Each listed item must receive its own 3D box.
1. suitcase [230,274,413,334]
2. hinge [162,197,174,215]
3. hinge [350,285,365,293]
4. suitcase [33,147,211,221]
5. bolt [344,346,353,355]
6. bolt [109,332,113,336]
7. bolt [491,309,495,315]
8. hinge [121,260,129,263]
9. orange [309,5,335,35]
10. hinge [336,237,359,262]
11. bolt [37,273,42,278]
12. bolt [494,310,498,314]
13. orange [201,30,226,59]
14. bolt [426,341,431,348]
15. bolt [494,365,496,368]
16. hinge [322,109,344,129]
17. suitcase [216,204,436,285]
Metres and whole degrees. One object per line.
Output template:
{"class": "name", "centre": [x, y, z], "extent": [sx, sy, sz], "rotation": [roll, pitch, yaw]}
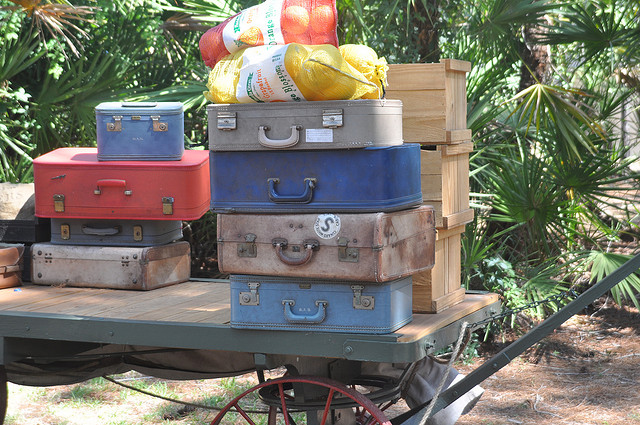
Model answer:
{"class": "suitcase", "centre": [0.155, 0.658, 6.277], "extent": [1.725, 0.433, 1.744], "rotation": [-2, 3, -9]}
{"class": "hinge", "centre": [-1.358, -0.061, 6.731], "extent": [0.135, 0.184, 0.100], "rotation": [2, 5, 8]}
{"class": "hinge", "centre": [0.274, 0.555, 5.595], "extent": [0.059, 0.056, 0.014], "rotation": [0, -1, 10]}
{"class": "suitcase", "centre": [-1.716, -0.288, 7.445], "extent": [1.821, 0.698, 1.347], "rotation": [-1, 4, 7]}
{"class": "bolt", "centre": [0.204, 1.001, 5.575], "extent": [0.053, 0.055, 0.027], "rotation": [-12, 0, 23]}
{"class": "bolt", "centre": [-1.629, 0.932, 5.899], "extent": [0.029, 0.029, 0.024], "rotation": [-1, -6, 13]}
{"class": "bolt", "centre": [1.491, 0.852, 6.567], "extent": [0.037, 0.038, 0.009], "rotation": [3, -2, -32]}
{"class": "hinge", "centre": [-1.732, 0.428, 6.714], "extent": [0.070, 0.023, 0.006], "rotation": [2, 15, 10]}
{"class": "orange", "centre": [0.009, -1.419, 5.748], "extent": [0.191, 0.196, 0.195], "rotation": [3, 6, 4]}
{"class": "hinge", "centre": [0.195, 0.279, 5.557], "extent": [0.184, 0.186, 0.154], "rotation": [-1, -4, 12]}
{"class": "bolt", "centre": [-2.533, 0.560, 6.846], "extent": [0.044, 0.044, 0.010], "rotation": [8, -7, -9]}
{"class": "bolt", "centre": [1.521, 0.856, 6.601], "extent": [0.027, 0.018, 0.026], "rotation": [1, 3, 45]}
{"class": "orange", "centre": [-0.834, -1.283, 5.907], "extent": [0.083, 0.216, 0.270], "rotation": [-13, 19, -40]}
{"class": "bolt", "centre": [0.796, 0.976, 5.653], "extent": [0.016, 0.049, 0.045], "rotation": [8, 17, 31]}
{"class": "bolt", "centre": [1.370, 1.195, 5.975], "extent": [0.010, 0.021, 0.002], "rotation": [1, 15, 6]}
{"class": "hinge", "centre": [0.089, -0.675, 5.561], "extent": [0.168, 0.149, 0.120], "rotation": [-1, 0, 8]}
{"class": "suitcase", "centre": [0.069, 0.229, 6.082], "extent": [1.413, 0.523, 1.123], "rotation": [2, 6, 28]}
